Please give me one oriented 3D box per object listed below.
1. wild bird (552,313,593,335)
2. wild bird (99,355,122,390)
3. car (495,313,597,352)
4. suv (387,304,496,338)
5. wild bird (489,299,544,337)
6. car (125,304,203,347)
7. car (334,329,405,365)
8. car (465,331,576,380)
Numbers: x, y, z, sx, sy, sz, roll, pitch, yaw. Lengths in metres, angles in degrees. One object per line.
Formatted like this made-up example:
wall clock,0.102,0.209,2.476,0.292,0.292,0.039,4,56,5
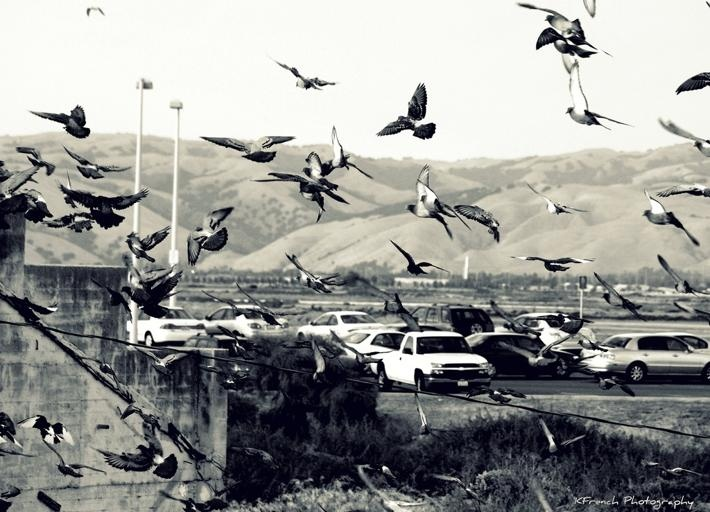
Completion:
wild bird,12.161,3.669,108.261,1.674,0.681,1.340,-2,0,18
wild bird,-13.963,6.519,109.375,1.212,1.616,0.704,-1,-11,-10
car,12.019,4.711,111.432,3.205,2.222,4.994,-4,9,-17
suv,6.277,4.431,127.542,4.685,2.142,2.730,7,3,40
wild bird,11.307,4.205,134.947,3.413,0.725,0.998,36,-42,-19
car,-12.312,4.662,129.003,5.719,1.960,2.707,4,4,45
car,0.913,5.674,122.227,2.066,1.621,4.451,-2,-1,-37
car,10.104,6.421,122.541,6.749,2.570,3.171,0,3,-6
